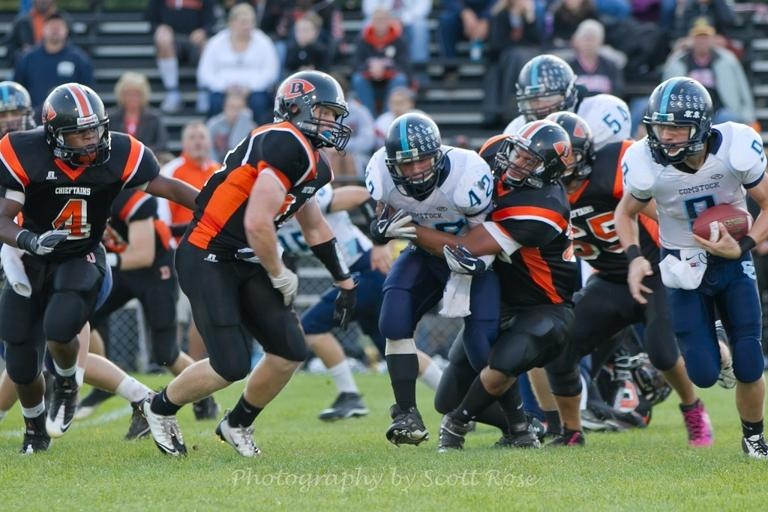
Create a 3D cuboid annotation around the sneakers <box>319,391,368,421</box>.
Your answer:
[{"bbox_3d":[-0.354,1.304,8.450,0.178,0.221,0.497,0,0,43],"label":"sneakers"}]

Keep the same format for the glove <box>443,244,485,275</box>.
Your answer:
[{"bbox_3d":[0.532,0.037,6.502,0.254,0.160,0.094,15,3,-1],"label":"glove"}]

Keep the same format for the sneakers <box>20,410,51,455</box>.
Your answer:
[{"bbox_3d":[-2.402,1.212,6.686,0.189,0.270,0.200,0,0,-19],"label":"sneakers"}]

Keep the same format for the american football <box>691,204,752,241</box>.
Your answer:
[{"bbox_3d":[2.241,-0.252,6.475,0.323,0.212,0.222,-12,10,-4],"label":"american football"}]

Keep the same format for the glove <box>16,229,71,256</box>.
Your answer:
[{"bbox_3d":[-2.213,-0.097,6.285,0.227,0.101,0.179,-6,-37,9],"label":"glove"}]

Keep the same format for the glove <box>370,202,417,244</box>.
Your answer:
[{"bbox_3d":[0.063,-0.199,6.670,0.262,0.247,0.112,-42,-18,21],"label":"glove"}]

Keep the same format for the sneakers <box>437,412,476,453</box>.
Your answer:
[{"bbox_3d":[0.484,1.231,6.737,0.221,0.174,0.435,0,0,4],"label":"sneakers"}]

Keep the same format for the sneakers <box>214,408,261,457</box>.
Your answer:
[{"bbox_3d":[-0.968,1.197,6.587,0.331,0.285,0.206,0,0,32],"label":"sneakers"}]

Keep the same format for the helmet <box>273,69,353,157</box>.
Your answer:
[{"bbox_3d":[-0.413,-0.973,6.608,0.535,0.494,0.448,10,2,6],"label":"helmet"}]

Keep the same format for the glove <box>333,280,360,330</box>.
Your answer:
[{"bbox_3d":[-0.278,0.336,6.910,0.148,0.345,0.309,0,0,-1],"label":"glove"}]

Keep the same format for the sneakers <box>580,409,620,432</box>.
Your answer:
[{"bbox_3d":[1.681,1.299,7.571,0.248,0.110,0.168,22,14,-2],"label":"sneakers"}]

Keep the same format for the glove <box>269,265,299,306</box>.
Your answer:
[{"bbox_3d":[-0.634,0.205,6.458,0.183,0.218,0.234,-12,-4,-2],"label":"glove"}]

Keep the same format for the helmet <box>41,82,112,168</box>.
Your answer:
[{"bbox_3d":[-2.020,-0.869,6.506,0.399,0.436,0.542,-19,46,-32],"label":"helmet"}]

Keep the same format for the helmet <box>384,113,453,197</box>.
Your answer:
[{"bbox_3d":[0.205,-0.682,6.522,0.401,0.585,0.252,0,0,4],"label":"helmet"}]

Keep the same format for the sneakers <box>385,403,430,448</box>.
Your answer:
[{"bbox_3d":[0.141,1.146,6.479,0.429,0.256,0.145,17,-55,-44],"label":"sneakers"}]

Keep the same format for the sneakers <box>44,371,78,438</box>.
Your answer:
[{"bbox_3d":[-2.247,1.051,6.819,0.164,0.534,0.203,8,-11,-24],"label":"sneakers"}]

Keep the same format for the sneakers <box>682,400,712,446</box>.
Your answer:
[{"bbox_3d":[2.290,1.224,7.123,0.123,0.390,0.149,-21,-29,31],"label":"sneakers"}]

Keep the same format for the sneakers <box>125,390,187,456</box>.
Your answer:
[{"bbox_3d":[-1.581,1.159,6.694,0.201,0.453,0.147,-35,1,17],"label":"sneakers"}]
